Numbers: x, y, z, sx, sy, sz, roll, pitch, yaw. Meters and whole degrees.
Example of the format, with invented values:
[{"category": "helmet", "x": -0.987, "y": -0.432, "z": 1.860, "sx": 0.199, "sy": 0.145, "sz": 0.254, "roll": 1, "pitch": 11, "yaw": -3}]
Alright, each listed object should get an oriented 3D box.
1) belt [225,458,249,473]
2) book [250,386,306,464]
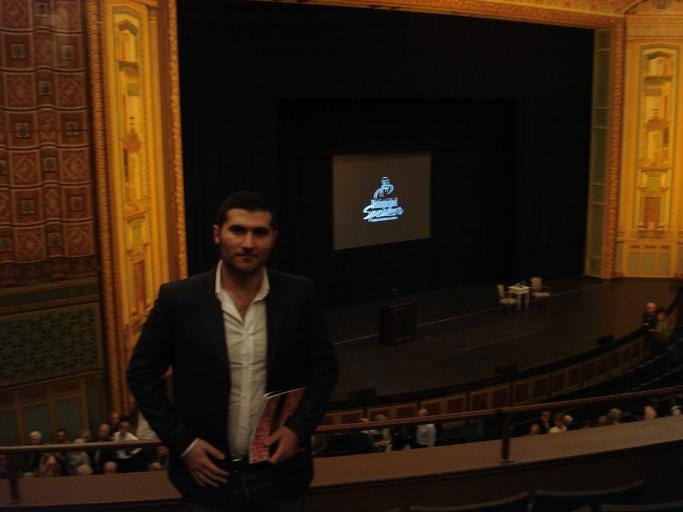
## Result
[{"category": "belt", "x": -0.552, "y": 1.090, "z": 3.997, "sx": 0.112, "sy": 0.090, "sz": 0.074, "roll": 0, "pitch": 25, "yaw": -3}, {"category": "book", "x": -0.363, "y": 0.858, "z": 3.931, "sx": 0.394, "sy": 0.337, "sz": 0.100, "roll": 4, "pitch": 9, "yaw": -40}]
